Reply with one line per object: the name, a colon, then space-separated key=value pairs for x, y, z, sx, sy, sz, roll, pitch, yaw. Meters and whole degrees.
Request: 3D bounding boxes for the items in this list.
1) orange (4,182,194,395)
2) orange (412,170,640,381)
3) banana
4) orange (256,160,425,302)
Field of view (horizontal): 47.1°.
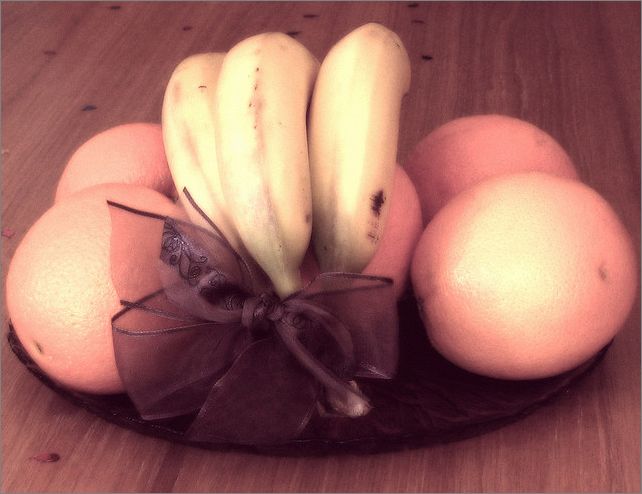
orange: x=-0.206 y=0.029 z=0.745 sx=0.159 sy=0.169 sz=0.223 roll=3 pitch=95 yaw=12
orange: x=0.182 y=0.030 z=0.728 sx=0.178 sy=0.152 sz=0.174 roll=-6 pitch=76 yaw=-9
banana: x=-0.044 y=-0.096 z=0.699 sx=0.234 sy=0.132 sz=0.252 roll=11 pitch=62 yaw=8
orange: x=0.024 y=-0.017 z=0.701 sx=0.101 sy=0.111 sz=0.148 roll=2 pitch=92 yaw=6
